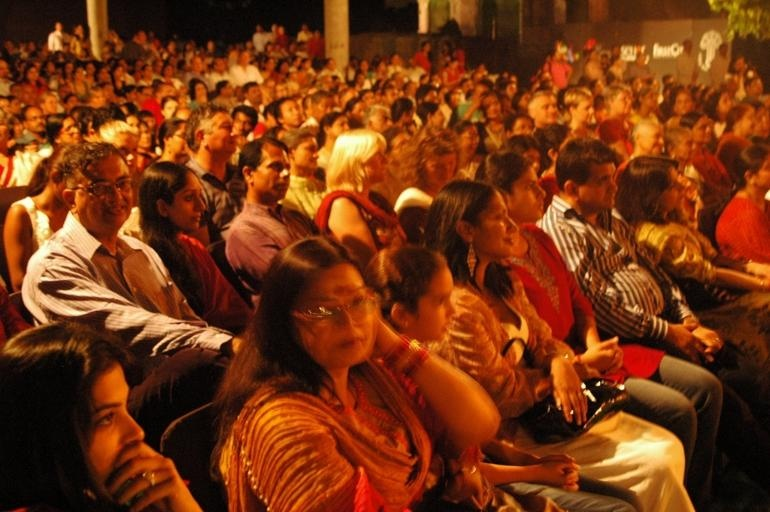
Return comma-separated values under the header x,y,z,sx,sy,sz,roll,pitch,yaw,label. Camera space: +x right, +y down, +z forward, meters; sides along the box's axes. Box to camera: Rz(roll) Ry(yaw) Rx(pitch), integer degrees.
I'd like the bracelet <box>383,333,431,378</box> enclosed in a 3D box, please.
x,y,z,sx,sy,sz,roll,pitch,yaw,label
0.071,0.343,2.119,0.135,0.138,0.048,36,2,-4,bracelet

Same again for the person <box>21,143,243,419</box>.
x,y,z,sx,sy,sz,roll,pitch,yaw,label
-1.107,0.077,2.686,0.961,1.082,0.615,8,15,24,person

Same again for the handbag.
x,y,z,sx,sy,sz,roll,pitch,yaw,label
0.821,0.674,2.711,0.452,0.149,0.457,-16,29,-27,handbag

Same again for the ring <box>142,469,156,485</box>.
x,y,z,sx,sy,sz,roll,pitch,yaw,label
-0.677,0.637,1.759,0.031,0.043,0.015,-6,7,-25,ring

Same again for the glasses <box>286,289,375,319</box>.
x,y,z,sx,sy,sz,roll,pitch,yaw,label
-0.144,0.146,1.818,0.258,0.082,0.054,-1,13,-22,glasses

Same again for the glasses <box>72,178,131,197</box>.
x,y,z,sx,sy,sz,roll,pitch,yaw,label
-1.191,-0.297,2.567,0.227,0.089,0.075,-3,14,-31,glasses
